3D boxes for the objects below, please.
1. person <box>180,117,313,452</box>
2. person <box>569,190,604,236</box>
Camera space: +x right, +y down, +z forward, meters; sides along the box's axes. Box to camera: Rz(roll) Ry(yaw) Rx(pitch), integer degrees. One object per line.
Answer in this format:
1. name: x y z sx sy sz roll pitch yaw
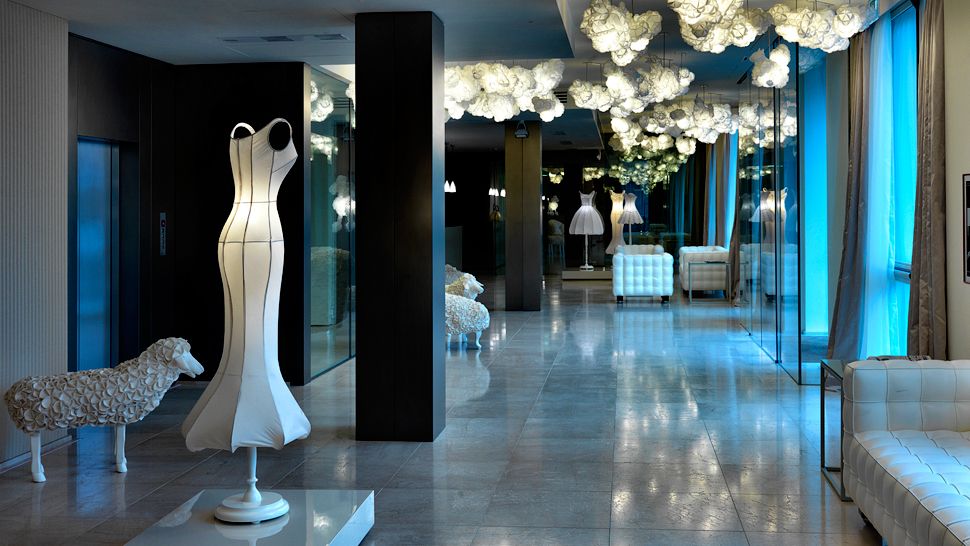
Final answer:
1. person: -2.160 0.098 6.121 1.063 2.829 0.753 -4 10 -15
2. person: 2.965 -1.751 20.291 1.009 1.185 1.084 -1 11 12
